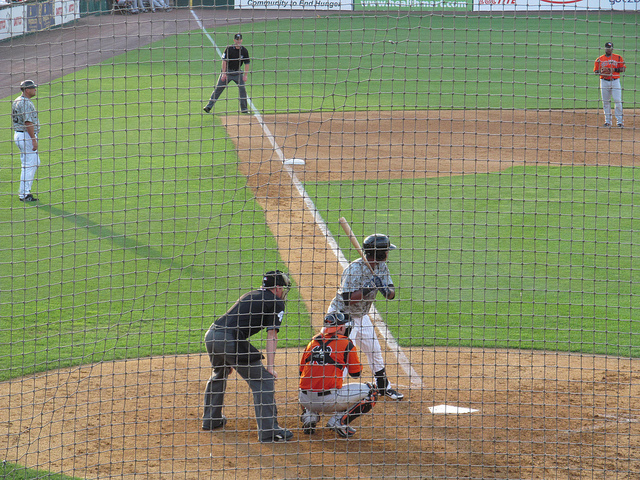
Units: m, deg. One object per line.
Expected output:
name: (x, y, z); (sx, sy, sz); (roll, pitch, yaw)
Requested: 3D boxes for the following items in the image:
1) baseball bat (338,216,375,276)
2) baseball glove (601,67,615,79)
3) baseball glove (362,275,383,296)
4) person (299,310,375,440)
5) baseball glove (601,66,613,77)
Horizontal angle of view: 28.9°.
baseball bat: (0.596, 0.126, 21.302); (0.175, 1.326, 0.157); (-36, 2, -8)
baseball glove: (6.832, -4.000, 29.428); (0.314, 0.330, 0.696); (-5, 17, 13)
baseball glove: (0.789, 0.683, 19.099); (0.323, 0.275, 0.137); (-9, 20, 0)
person: (0.144, 2.021, 18.408); (1.160, 1.761, 0.781); (-15, 20, -12)
baseball glove: (6.829, -4.012, 29.503); (0.263, 0.293, 0.450); (-6, 17, 12)
